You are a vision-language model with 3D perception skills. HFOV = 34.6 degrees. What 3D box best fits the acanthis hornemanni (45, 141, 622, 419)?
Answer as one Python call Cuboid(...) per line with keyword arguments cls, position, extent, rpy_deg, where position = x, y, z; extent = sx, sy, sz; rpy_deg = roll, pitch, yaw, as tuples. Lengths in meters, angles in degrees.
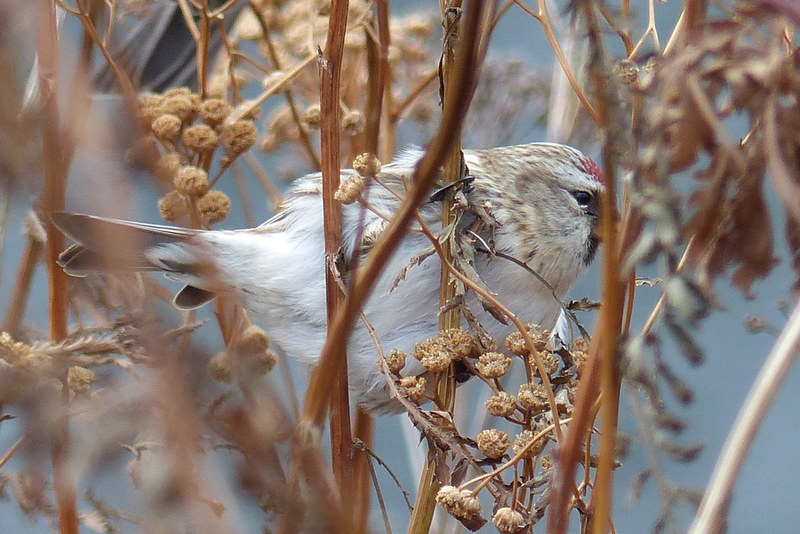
Cuboid(cls="acanthis hornemanni", position=(-0.018, -0.001, 0.996), extent=(0.362, 0.197, 0.186), rpy_deg=(3, -4, 12))
